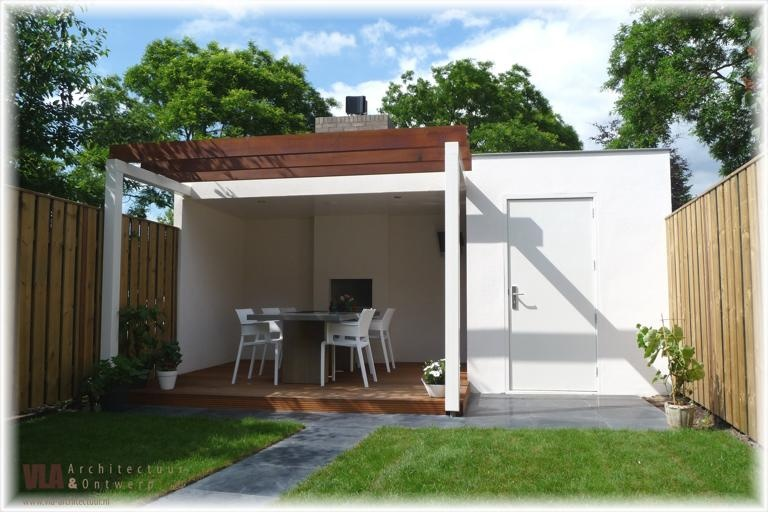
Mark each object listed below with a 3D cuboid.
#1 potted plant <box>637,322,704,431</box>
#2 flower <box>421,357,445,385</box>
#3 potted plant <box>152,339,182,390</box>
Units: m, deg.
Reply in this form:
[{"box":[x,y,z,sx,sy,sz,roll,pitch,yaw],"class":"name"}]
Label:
[{"box":[3.974,1.646,8.971,0.798,1.439,0.734,5,-9,-28],"class":"potted plant"},{"box":[0.725,1.705,9.662,0.369,0.264,0.380,1,-6,-7],"class":"flower"},{"box":[-3.433,1.747,10.238,0.376,0.731,0.392,-20,-26,38],"class":"potted plant"}]
